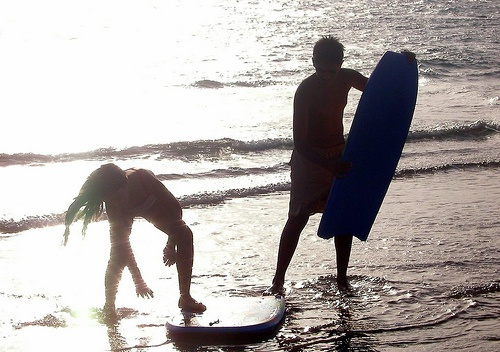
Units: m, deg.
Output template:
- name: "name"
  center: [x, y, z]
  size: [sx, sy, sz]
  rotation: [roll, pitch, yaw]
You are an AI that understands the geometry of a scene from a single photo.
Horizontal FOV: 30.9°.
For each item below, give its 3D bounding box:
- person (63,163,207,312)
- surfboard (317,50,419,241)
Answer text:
- name: "person"
  center: [-1.598, 0.859, 12.808]
  size: [1.815, 2.118, 0.605]
  rotation: [-2, 14, -4]
- name: "surfboard"
  center: [1.743, -0.440, 13.108]
  size: [1.498, 2.715, 0.523]
  rotation: [-12, 18, -38]
